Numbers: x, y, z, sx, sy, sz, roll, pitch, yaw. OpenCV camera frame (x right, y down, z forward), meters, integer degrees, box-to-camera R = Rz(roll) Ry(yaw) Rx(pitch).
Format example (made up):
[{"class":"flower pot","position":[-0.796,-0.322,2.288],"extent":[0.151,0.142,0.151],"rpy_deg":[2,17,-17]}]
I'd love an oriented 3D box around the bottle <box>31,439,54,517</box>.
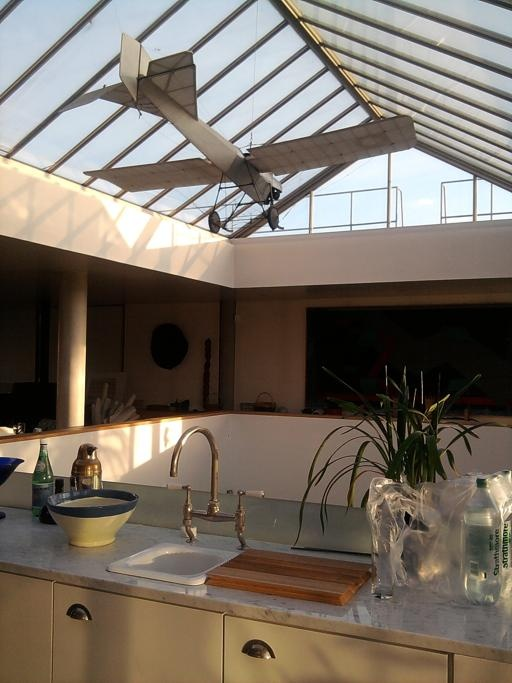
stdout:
[{"class":"bottle","position":[-0.840,0.547,2.317],"extent":[0.085,0.294,0.245],"rpy_deg":[3,-6,-19]}]

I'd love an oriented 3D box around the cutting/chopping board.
[{"class":"cutting/chopping board","position":[0.091,0.623,1.585],"extent":[0.404,0.031,0.355],"rpy_deg":[-2,-6,25]}]

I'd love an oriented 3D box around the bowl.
[{"class":"bowl","position":[-0.524,0.548,1.938],"extent":[0.227,0.101,0.226],"rpy_deg":[0,-12,0]}]
